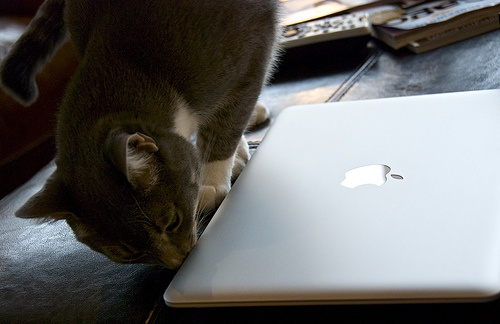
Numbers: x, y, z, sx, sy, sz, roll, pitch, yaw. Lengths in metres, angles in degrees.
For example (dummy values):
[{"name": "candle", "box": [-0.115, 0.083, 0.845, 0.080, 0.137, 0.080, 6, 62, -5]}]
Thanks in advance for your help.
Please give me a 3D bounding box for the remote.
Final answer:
[{"name": "remote", "box": [0.238, -0.486, 1.721, 0.315, 0.164, 0.030, -17, 74, -15]}]
